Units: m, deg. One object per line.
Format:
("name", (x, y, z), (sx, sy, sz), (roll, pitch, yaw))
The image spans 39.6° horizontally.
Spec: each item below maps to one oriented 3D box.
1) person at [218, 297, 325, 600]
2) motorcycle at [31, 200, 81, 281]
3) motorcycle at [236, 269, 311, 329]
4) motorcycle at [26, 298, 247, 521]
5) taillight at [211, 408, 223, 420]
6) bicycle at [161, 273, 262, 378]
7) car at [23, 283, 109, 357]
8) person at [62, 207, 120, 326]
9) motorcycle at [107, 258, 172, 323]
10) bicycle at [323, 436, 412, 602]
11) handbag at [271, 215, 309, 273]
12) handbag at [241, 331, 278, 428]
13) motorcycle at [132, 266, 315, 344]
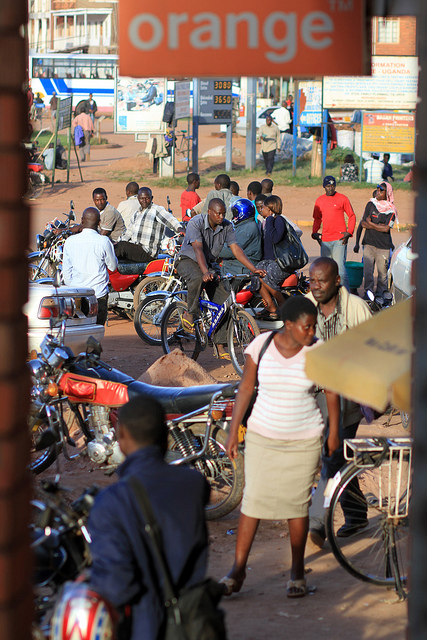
("person", (0.391, 0.940, 3.834), (0.592, 1.830, 0.332), (3, 6, 9))
("motorcycle", (-3.096, -1.413, 11.531), (0.780, 1.223, 0.898), (0, 6, -17))
("motorcycle", (1.135, -0.325, 8.922), (1.297, 0.825, 0.650), (-6, 22, 22))
("motorcycle", (-0.795, 0.745, 5.189), (2.574, 1.726, 1.192), (3, 5, 27))
("taillight", (0.028, 0.739, 4.658), (0.089, 0.083, 0.091), (2, 5, 1))
("bicycle", (-0.049, 0.069, 9.028), (0.966, 1.307, 2.147), (-11, 11, -44))
("car", (-1.616, -0.046, 7.097), (1.188, 0.816, 1.511), (-4, 9, -29))
("person", (-1.889, -0.593, 9.096), (0.838, 2.290, 0.728), (7, 31, -5))
("motorcycle", (-1.732, -0.745, 11.926), (1.110, 1.687, 2.800), (2, -3, -16))
("bicycle", (1.128, 1.300, 4.298), (0.582, 1.073, 1.796), (3, 5, 16))
("handbag", (1.188, -1.203, 9.268), (0.562, 0.924, 0.953), (3, 5, 8))
("handbag", (0.329, 0.464, 4.365), (0.459, 0.617, 0.188), (3, -3, -4))
("motorcycle", (-0.031, -0.279, 9.638), (2.569, 1.557, 1.411), (0, 6, 17))
